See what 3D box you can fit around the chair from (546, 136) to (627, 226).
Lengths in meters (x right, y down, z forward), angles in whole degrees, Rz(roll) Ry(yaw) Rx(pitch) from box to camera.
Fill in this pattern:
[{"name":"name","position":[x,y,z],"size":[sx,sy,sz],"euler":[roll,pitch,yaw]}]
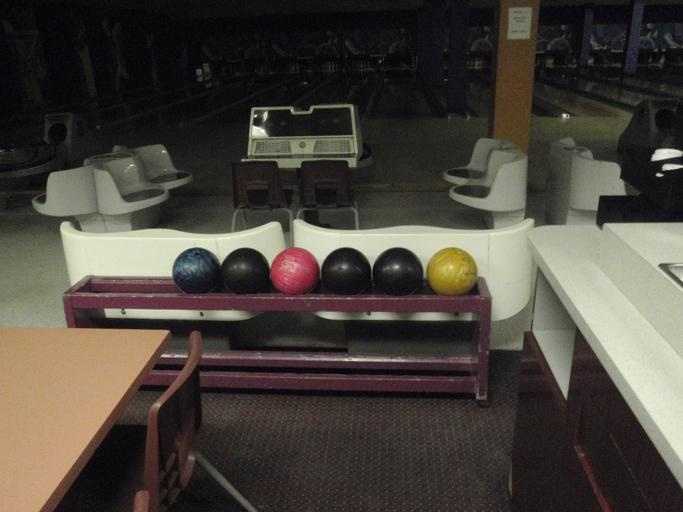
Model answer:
[{"name":"chair","position":[1.977,-0.528,4.372],"size":[0.331,0.741,0.769],"euler":[-3,22,-2]}]

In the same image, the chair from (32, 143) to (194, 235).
[{"name":"chair","position":[-2.010,-0.565,4.831],"size":[0.940,0.723,1.201],"euler":[2,22,9]}]

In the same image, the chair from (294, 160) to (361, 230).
[{"name":"chair","position":[-0.130,-0.571,4.129],"size":[0.489,0.704,0.497],"euler":[0,53,0]}]

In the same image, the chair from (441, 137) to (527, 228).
[{"name":"chair","position":[1.223,-0.610,4.594],"size":[0.613,0.688,0.917],"euler":[0,22,5]}]
